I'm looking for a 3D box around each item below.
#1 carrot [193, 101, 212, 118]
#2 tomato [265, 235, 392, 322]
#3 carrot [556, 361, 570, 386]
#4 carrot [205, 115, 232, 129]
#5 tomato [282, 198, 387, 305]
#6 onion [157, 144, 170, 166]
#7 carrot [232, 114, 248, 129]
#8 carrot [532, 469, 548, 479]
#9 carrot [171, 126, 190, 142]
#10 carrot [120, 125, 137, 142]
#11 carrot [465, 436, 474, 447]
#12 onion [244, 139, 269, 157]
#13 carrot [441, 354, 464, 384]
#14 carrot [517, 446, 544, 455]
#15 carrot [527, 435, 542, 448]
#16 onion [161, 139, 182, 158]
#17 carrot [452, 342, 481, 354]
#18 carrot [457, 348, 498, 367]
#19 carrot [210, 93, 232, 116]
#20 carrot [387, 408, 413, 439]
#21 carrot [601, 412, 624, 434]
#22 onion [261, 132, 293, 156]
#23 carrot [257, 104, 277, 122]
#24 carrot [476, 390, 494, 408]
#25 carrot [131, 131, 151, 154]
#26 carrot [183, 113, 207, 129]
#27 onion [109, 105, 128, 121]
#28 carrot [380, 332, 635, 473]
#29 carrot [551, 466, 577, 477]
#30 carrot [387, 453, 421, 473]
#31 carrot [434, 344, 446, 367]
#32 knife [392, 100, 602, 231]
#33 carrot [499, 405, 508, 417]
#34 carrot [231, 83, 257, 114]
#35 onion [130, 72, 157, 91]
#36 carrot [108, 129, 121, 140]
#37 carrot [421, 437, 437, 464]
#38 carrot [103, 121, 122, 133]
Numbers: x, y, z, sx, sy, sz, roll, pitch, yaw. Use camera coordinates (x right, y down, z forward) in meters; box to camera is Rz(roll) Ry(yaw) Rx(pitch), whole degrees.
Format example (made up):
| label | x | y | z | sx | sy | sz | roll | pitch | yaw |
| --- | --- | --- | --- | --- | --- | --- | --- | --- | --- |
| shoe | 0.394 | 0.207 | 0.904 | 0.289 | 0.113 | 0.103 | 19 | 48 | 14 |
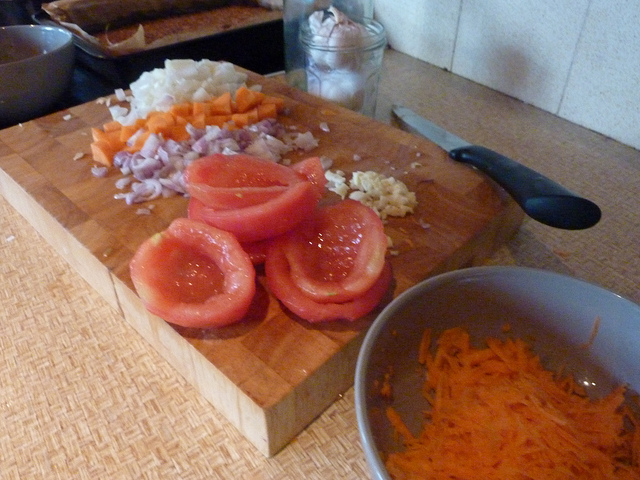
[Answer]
| label | x | y | z | sx | sy | sz | roll | pitch | yaw |
| --- | --- | --- | --- | --- | --- | --- | --- | --- | --- |
| carrot | -0.261 | -0.293 | 1.113 | 0.037 | 0.036 | 0.036 | -6 | 53 | -8 |
| tomato | 0.010 | 0.060 | 0.739 | 0.188 | 0.078 | 0.111 | 0 | 45 | 8 |
| carrot | 0.330 | 0.183 | 0.675 | 0.031 | 0.005 | 0.008 | -61 | 30 | 3 |
| carrot | -0.233 | -0.270 | 1.124 | 0.038 | 0.014 | 0.038 | 15 | 39 | 19 |
| tomato | 0.016 | 0.021 | 0.754 | 0.165 | 0.059 | 0.185 | -2 | 55 | -10 |
| onion | -0.322 | -0.173 | 1.031 | 0.011 | 0.039 | 0.037 | -21 | 55 | 17 |
| carrot | -0.178 | -0.272 | 1.130 | 0.031 | 0.024 | 0.027 | 16 | 50 | 23 |
| carrot | 0.261 | 0.279 | 0.590 | 0.016 | 0.004 | 0.007 | 15 | 49 | 22 |
| carrot | -0.304 | -0.229 | 1.079 | 0.039 | 0.011 | 0.036 | 18 | 70 | -6 |
| carrot | -0.410 | -0.228 | 1.060 | 0.035 | 0.012 | 0.030 | -5 | 65 | -8 |
| carrot | 0.185 | 0.248 | 0.611 | 0.010 | 0.001 | 0.011 | -33 | 50 | -23 |
| onion | -0.130 | -0.191 | 1.046 | 0.038 | 0.010 | 0.039 | -44 | 48 | -15 |
| carrot | 0.181 | 0.175 | 0.674 | 0.012 | 0.002 | 0.041 | -4 | 47 | -31 |
| carrot | 0.257 | 0.257 | 0.605 | 0.032 | 0.004 | 0.006 | -11 | 45 | -3 |
| carrot | 0.264 | 0.248 | 0.611 | 0.007 | 0.003 | 0.017 | -34 | 50 | -24 |
| onion | -0.315 | -0.194 | 1.050 | 0.036 | 0.011 | 0.045 | -8 | 65 | -4 |
| carrot | 0.202 | 0.151 | 0.689 | 0.031 | 0.004 | 0.007 | 25 | 97 | 9 |
| carrot | 0.216 | 0.162 | 0.681 | 0.047 | 0.005 | 0.019 | -15 | 85 | -12 |
| carrot | -0.226 | -0.306 | 1.134 | 0.047 | 0.019 | 0.048 | 18 | 55 | 13 |
| carrot | 0.097 | 0.231 | 0.631 | 0.016 | 0.004 | 0.052 | -38 | 73 | -15 |
| carrot | 0.374 | 0.234 | 0.634 | 0.023 | 0.008 | 0.021 | -12 | 50 | 0 |
| onion | -0.095 | -0.203 | 1.057 | 0.043 | 0.017 | 0.053 | 36 | 31 | 26 |
| carrot | -0.122 | -0.297 | 1.153 | 0.040 | 0.030 | 0.041 | -5 | 34 | -10 |
| carrot | 0.214 | 0.206 | 0.647 | 0.007 | 0.004 | 0.027 | -2 | 30 | -35 |
| carrot | -0.379 | -0.205 | 1.053 | 0.031 | 0.010 | 0.048 | 18 | 72 | 5 |
| carrot | -0.275 | -0.260 | 1.098 | 0.051 | 0.037 | 0.029 | 19 | 91 | 28 |
| onion | -0.474 | -0.300 | 1.162 | 0.041 | 0.012 | 0.040 | 13 | 44 | 2 |
| carrot | 0.236 | 0.206 | 0.641 | 0.318 | 0.080 | 0.183 | -7 | 45 | 1 |
| carrot | 0.292 | 0.276 | 0.593 | 0.022 | 0.006 | 0.010 | 20 | 23 | 9 |
| carrot | 0.103 | 0.264 | 0.587 | 0.047 | 0.005 | 0.018 | 25 | 19 | -12 |
| carrot | 0.163 | 0.160 | 0.679 | 0.013 | 0.004 | 0.040 | 29 | 50 | -4 |
| knife | 0.243 | -0.209 | 1.142 | 0.130 | 0.086 | 0.779 | -18 | 34 | -25 |
| carrot | 0.233 | 0.218 | 0.633 | 0.008 | 0.002 | 0.016 | -18 | 46 | -10 |
| carrot | -0.174 | -0.321 | 1.147 | 0.042 | 0.049 | 0.048 | 24 | 53 | 28 |
| onion | -0.417 | -0.374 | 1.174 | 0.051 | 0.014 | 0.051 | -32 | 47 | -11 |
| carrot | -0.441 | -0.225 | 1.065 | 0.027 | 0.008 | 0.025 | 15 | 43 | 7 |
| carrot | 0.132 | 0.257 | 0.606 | 0.013 | 0.006 | 0.026 | 12 | 49 | 24 |
| carrot | -0.457 | -0.248 | 1.095 | 0.038 | 0.019 | 0.028 | -17 | 47 | -30 |
